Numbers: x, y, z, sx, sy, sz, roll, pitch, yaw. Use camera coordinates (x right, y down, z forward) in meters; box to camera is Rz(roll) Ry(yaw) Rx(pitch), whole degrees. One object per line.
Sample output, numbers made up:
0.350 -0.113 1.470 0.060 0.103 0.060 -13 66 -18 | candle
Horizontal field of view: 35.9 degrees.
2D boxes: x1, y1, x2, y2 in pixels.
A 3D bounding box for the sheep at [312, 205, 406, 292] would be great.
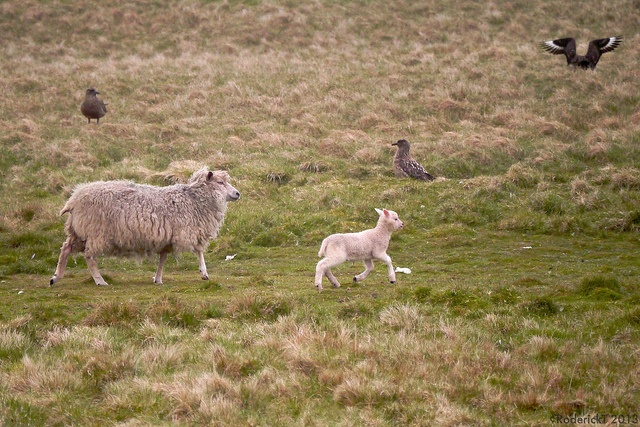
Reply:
1.404 1.349 36.680 3.227 2.842 1.651 -1 7 -1 | sheep
